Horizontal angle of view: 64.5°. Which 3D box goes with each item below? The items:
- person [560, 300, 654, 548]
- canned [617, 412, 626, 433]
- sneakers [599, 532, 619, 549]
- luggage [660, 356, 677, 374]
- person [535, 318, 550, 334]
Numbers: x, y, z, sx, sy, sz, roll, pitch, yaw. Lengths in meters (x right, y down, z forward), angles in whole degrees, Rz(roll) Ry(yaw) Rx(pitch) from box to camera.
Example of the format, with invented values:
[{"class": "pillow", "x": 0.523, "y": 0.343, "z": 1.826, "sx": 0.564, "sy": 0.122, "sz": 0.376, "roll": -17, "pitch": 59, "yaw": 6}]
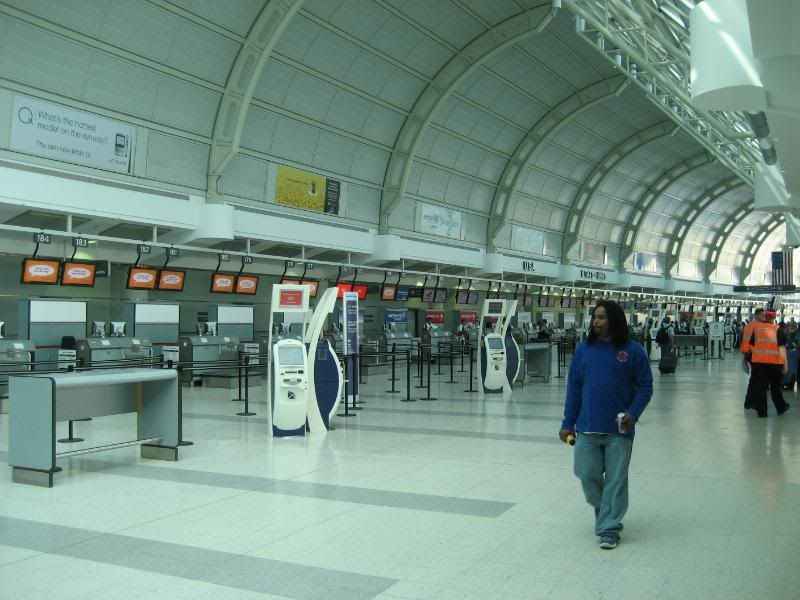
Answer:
[{"class": "person", "x": 2.030, "y": 1.189, "z": 6.290, "sx": 0.867, "sy": 2.351, "sz": 0.474, "roll": -1, "pitch": -1, "yaw": 17}, {"class": "canned", "x": 2.120, "y": 1.172, "z": 6.080, "sx": 0.064, "sy": 0.207, "sz": 0.119, "roll": -1, "pitch": -1, "yaw": 17}, {"class": "sneakers", "x": 2.036, "y": 2.297, "z": 6.167, "sx": 0.167, "sy": 0.131, "sz": 0.236, "roll": -1, "pitch": -1, "yaw": 21}, {"class": "luggage", "x": 10.121, "y": 2.425, "z": 24.030, "sx": 0.845, "sy": 0.685, "sz": 0.440, "roll": -1, "pitch": 1, "yaw": -44}, {"class": "person", "x": 7.533, "y": 1.387, "z": 33.756, "sx": 0.600, "sy": 0.446, "sz": 1.508, "roll": 12, "pitch": -1, "yaw": 13}]
